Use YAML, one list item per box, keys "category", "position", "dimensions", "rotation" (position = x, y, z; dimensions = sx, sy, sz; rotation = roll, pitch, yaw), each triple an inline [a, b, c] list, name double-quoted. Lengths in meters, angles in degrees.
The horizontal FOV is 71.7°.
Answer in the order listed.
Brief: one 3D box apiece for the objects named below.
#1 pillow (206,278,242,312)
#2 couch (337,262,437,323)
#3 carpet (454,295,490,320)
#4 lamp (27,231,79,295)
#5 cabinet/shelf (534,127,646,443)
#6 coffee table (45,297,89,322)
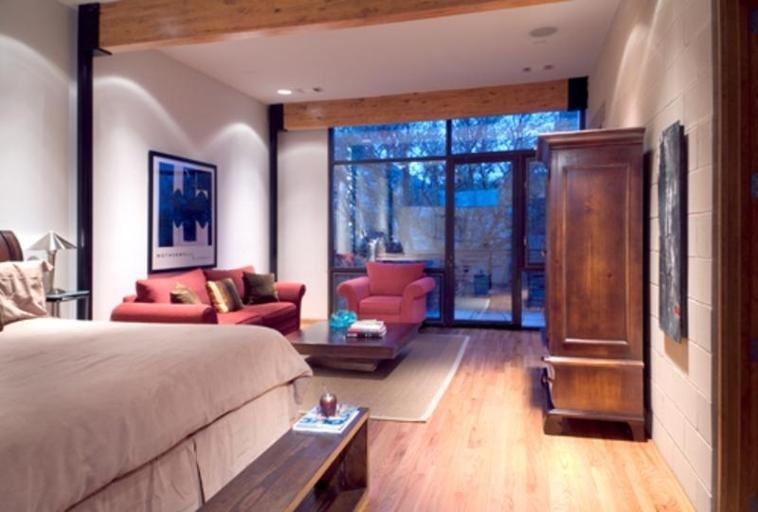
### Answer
- category: "pillow"
  position: [-1.732, 0.445, 5.861]
  dimensions: [0.108, 0.343, 0.369]
  rotation: [-25, -8, 19]
- category: "couch"
  position: [0.109, 0.558, 7.117]
  dimensions: [1.159, 0.873, 0.877]
  rotation: [0, 3, 19]
- category: "carpet"
  position: [1.342, 0.765, 7.700]
  dimensions: [0.497, 0.349, 0.080]
  rotation: [3, 7, 11]
- category: "lamp"
  position: [-2.780, 0.065, 4.778]
  dimensions: [0.460, 0.622, 0.480]
  rotation: [2, -2, 2]
- category: "cabinet/shelf"
  position: [1.849, 0.376, 4.969]
  dimensions: [0.695, 2.184, 2.244]
  rotation: [0, -7, 14]
- category: "coffee table"
  position: [-2.805, 0.450, 4.791]
  dimensions: [0.249, 0.275, 0.285]
  rotation: [1, 4, 8]
